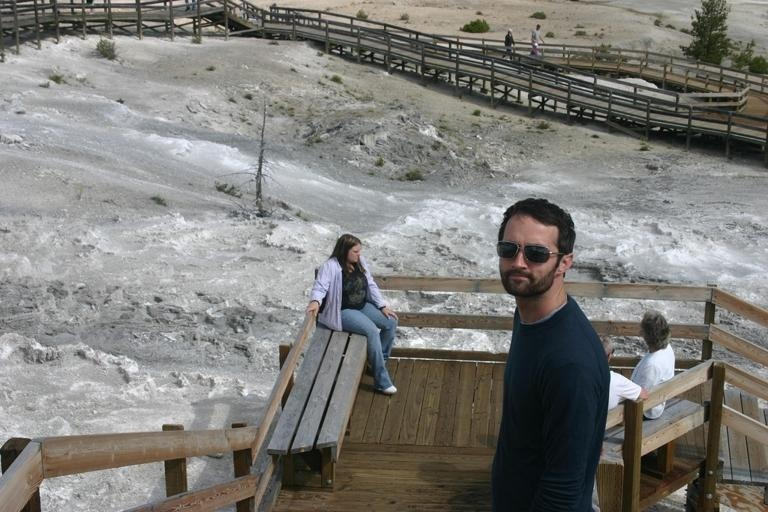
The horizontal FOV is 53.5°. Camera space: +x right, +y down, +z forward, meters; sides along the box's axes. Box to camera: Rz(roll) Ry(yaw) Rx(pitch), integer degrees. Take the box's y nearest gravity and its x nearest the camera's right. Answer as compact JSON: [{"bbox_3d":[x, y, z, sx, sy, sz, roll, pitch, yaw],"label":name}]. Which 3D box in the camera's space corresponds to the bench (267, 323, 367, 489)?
[{"bbox_3d":[-0.749,1.901,9.445,0.683,0.620,2.033,12,42,6],"label":"bench"}]

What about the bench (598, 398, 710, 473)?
[{"bbox_3d":[3.119,2.087,8.865,1.440,0.669,0.465,-13,20,-32],"label":"bench"}]
